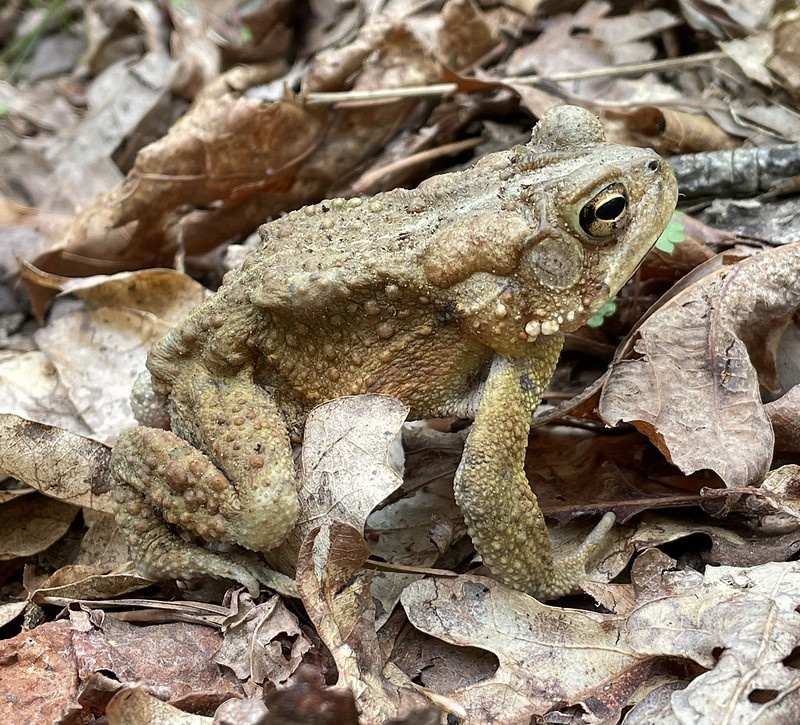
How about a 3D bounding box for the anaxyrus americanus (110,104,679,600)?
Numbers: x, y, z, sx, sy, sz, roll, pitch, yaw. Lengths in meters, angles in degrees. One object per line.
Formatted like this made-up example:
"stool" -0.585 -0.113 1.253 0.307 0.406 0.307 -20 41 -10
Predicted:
"anaxyrus americanus" 0.079 -0.095 2.741 1.975 1.115 1.173 -8 37 13
